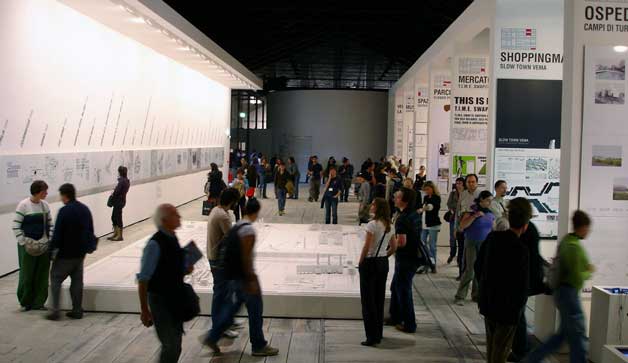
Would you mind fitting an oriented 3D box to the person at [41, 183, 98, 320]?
[{"bbox_3d":[-4.055,1.156,6.699,0.810,2.250,0.383,-6,13,-32],"label":"person"}]

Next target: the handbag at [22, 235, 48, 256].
[{"bbox_3d":[-4.754,1.057,6.934,0.310,0.216,0.419,-4,4,-38],"label":"handbag"}]

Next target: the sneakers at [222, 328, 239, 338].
[{"bbox_3d":[-1.311,2.376,6.457,0.318,0.131,0.117,1,12,-2],"label":"sneakers"}]

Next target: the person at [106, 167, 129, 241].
[{"bbox_3d":[-5.177,0.518,10.636,0.582,1.983,0.716,-4,12,-27],"label":"person"}]

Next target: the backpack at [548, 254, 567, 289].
[{"bbox_3d":[3.123,1.156,5.271,0.130,0.430,0.161,0,11,-9],"label":"backpack"}]

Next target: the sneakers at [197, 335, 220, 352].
[{"bbox_3d":[-1.519,2.357,5.920,0.169,0.393,0.148,-27,42,11],"label":"sneakers"}]

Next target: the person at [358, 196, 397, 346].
[{"bbox_3d":[0.959,1.354,6.260,0.369,2.270,0.578,12,15,43],"label":"person"}]

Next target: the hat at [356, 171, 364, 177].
[{"bbox_3d":[1.399,-0.240,12.199,0.184,0.147,0.150,-2,15,-10],"label":"hat"}]

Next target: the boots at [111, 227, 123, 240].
[{"bbox_3d":[-5.150,1.338,10.686,0.317,0.369,0.300,4,3,-20],"label":"boots"}]

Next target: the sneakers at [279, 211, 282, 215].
[{"bbox_3d":[-1.194,1.100,14.524,0.104,0.108,0.116,4,7,24],"label":"sneakers"}]

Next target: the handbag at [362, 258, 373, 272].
[{"bbox_3d":[0.813,1.232,6.083,0.183,0.254,0.140,6,-7,-4],"label":"handbag"}]

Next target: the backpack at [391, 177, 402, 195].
[{"bbox_3d":[1.949,0.095,9.631,0.414,0.423,0.235,3,7,5],"label":"backpack"}]

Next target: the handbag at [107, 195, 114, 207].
[{"bbox_3d":[-5.259,0.457,10.391,0.224,0.325,0.121,12,15,42],"label":"handbag"}]

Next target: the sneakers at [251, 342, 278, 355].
[{"bbox_3d":[-0.729,2.481,6.071,0.401,0.180,0.152,0,4,-4],"label":"sneakers"}]

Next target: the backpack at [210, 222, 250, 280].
[{"bbox_3d":[-1.092,0.934,5.527,0.427,0.779,0.200,0,11,-7],"label":"backpack"}]

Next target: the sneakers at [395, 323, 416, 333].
[{"bbox_3d":[1.510,2.389,6.726,0.346,0.136,0.125,6,6,27],"label":"sneakers"}]
